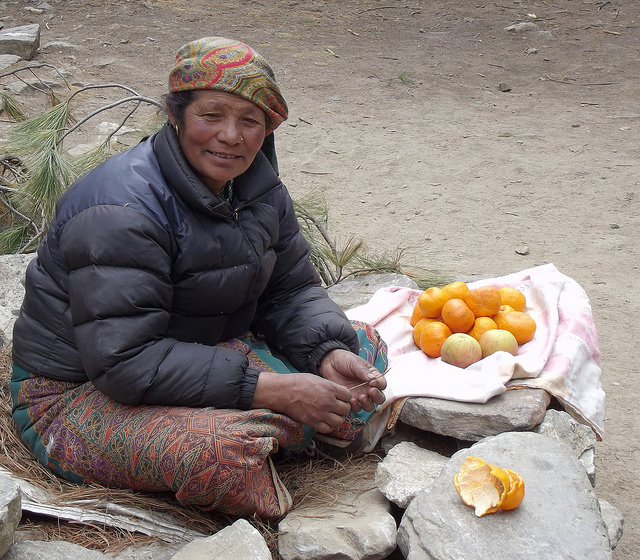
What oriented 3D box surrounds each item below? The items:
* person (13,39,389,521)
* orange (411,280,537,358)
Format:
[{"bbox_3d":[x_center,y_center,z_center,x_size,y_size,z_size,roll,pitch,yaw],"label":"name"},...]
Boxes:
[{"bbox_3d":[-0.352,-0.034,2.333,1.364,1.301,1.206,8,21,35],"label":"person"},{"bbox_3d":[0.616,0.134,2.659,0.413,0.142,0.375,-5,11,-14],"label":"orange"}]
